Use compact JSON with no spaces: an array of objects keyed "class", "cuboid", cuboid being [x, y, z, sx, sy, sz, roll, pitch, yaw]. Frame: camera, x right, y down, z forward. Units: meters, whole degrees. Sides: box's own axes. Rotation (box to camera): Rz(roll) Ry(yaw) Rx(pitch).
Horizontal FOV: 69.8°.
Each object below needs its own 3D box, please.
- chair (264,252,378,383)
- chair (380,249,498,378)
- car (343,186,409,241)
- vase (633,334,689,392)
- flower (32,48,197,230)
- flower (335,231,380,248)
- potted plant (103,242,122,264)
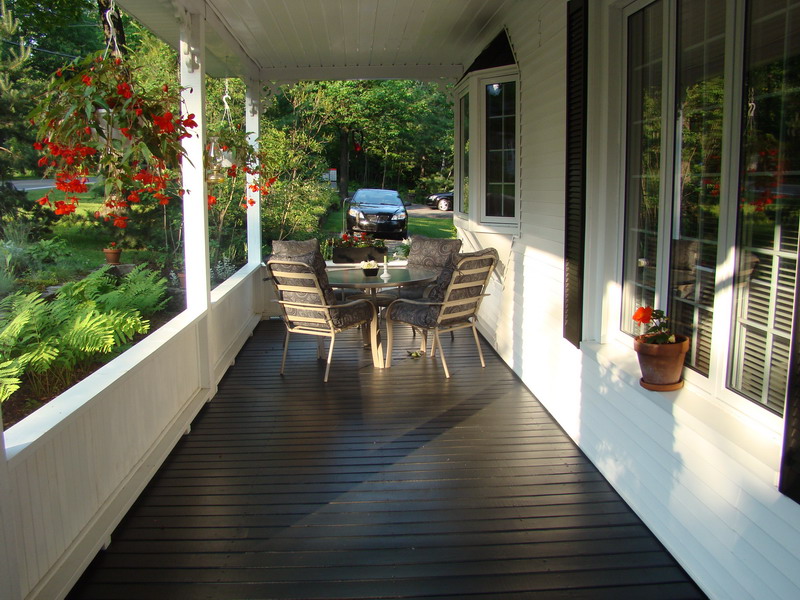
[{"class":"chair","cuboid":[-0.707,0.149,5.351,1.006,1.129,0.527,-3,12,-14]},{"class":"chair","cuboid":[0.383,-0.050,5.684,1.018,1.611,1.167,-8,13,-44]},{"class":"car","cuboid":[-0.542,-2.044,13.763,1.105,0.961,2.048,0,7,-5]},{"class":"vase","cuboid":[1.377,0.289,3.037,0.269,0.267,0.277,2,9,29]},{"class":"flower","cuboid":[-1.354,-0.766,2.764,0.664,0.787,0.736,-6,13,-26]},{"class":"flower","cuboid":[-0.495,-0.730,6.884,0.474,0.148,0.653,-4,13,-15]},{"class":"potted plant","cuboid":[-3.304,-0.549,6.616,0.225,0.288,0.231,-2,8,-18]}]
